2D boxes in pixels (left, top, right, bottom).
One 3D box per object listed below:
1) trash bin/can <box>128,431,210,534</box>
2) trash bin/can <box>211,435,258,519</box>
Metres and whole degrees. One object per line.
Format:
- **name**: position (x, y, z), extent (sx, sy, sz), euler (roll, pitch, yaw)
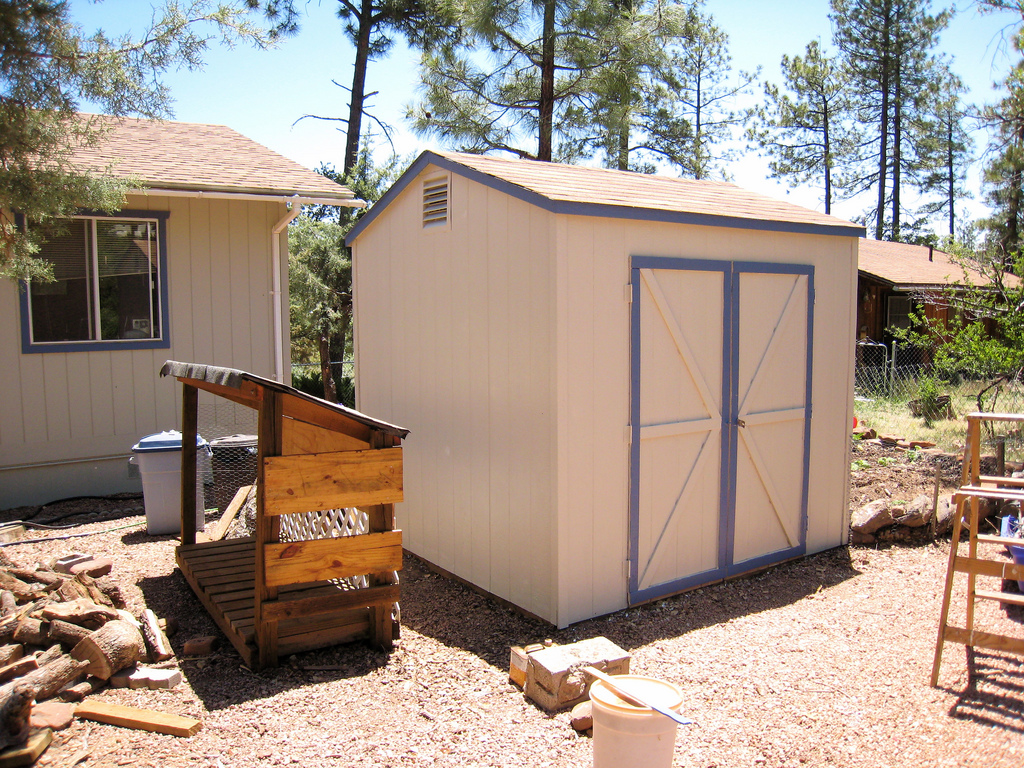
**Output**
- **trash bin/can**: position (-3.720, 0.976, 9.922), extent (0.824, 1.173, 0.796), euler (-11, 23, -35)
- **trash bin/can**: position (-3.384, 1.043, 10.859), extent (0.540, 0.745, 0.417), euler (-6, 13, -32)
